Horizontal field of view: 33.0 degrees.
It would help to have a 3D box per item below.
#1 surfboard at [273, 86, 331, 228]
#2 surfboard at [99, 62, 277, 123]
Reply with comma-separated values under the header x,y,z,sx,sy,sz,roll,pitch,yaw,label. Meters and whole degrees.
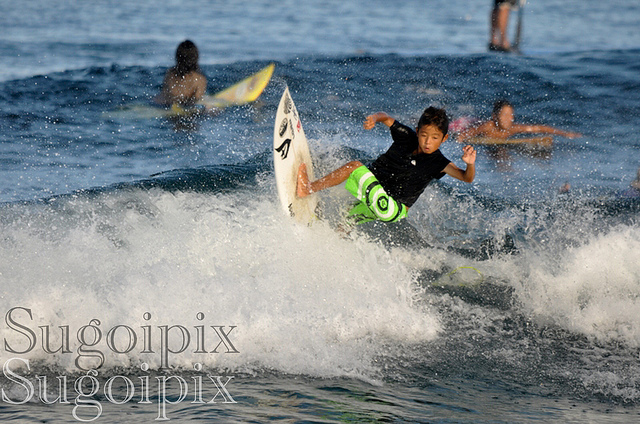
x,y,z,sx,sy,sz,roll,pitch,yaw,label
-0.460,-0.819,18.260,0.393,2.554,0.835,-2,22,41,surfboard
-2.747,-2.425,22.568,3.007,0.407,0.661,-25,25,-21,surfboard
